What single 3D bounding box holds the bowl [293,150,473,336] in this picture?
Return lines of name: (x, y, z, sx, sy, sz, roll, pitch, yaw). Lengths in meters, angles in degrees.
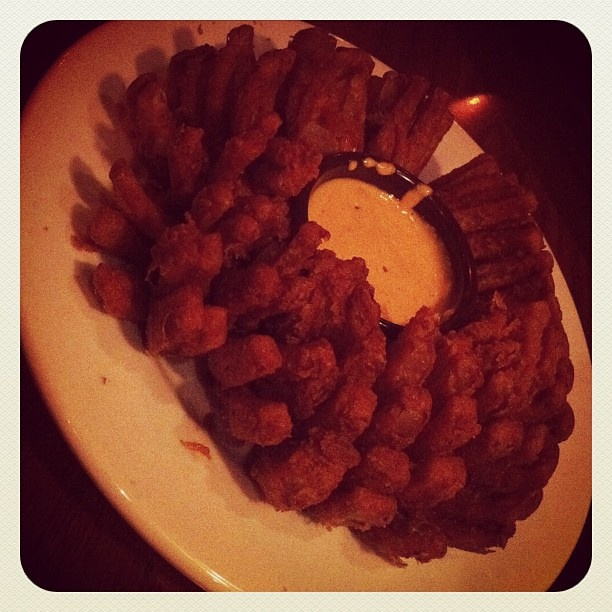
bowl: (0.107, -0.104, 1.259, 0.272, 0.096, 0.286, 30, 45, -35)
